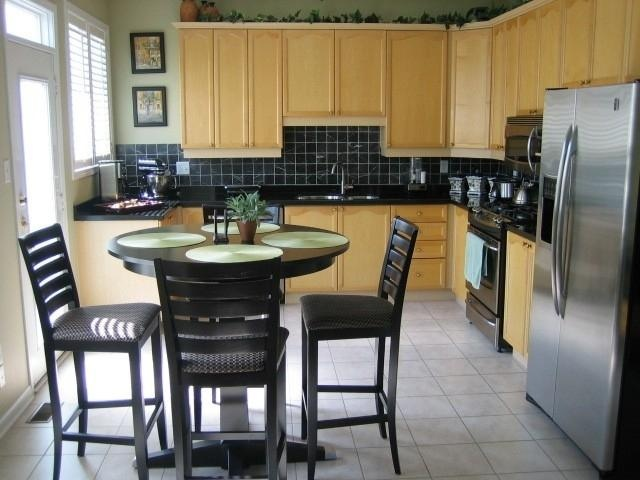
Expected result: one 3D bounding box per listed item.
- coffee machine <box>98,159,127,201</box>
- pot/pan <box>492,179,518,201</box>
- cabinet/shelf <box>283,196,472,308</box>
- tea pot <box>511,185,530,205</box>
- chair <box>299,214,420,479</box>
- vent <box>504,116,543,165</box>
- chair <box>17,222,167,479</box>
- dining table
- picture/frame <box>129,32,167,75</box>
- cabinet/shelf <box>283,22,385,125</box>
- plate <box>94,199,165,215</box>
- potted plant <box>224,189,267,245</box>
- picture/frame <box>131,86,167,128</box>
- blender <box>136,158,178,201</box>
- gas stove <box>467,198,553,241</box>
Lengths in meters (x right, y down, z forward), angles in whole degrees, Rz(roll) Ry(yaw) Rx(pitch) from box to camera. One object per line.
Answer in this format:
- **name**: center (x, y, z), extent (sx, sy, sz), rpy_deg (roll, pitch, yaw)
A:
- **coffee machine**: center (-2.081, -0.581, 4.901), extent (0.236, 0.411, 0.413), rpy_deg (-1, 8, -9)
- **pot/pan**: center (1.735, -0.470, 4.673), extent (0.203, 0.154, 0.199), rpy_deg (3, 10, 2)
- **cabinet/shelf**: center (0.498, -0.019, 5.332), extent (1.734, 0.997, 0.482), rpy_deg (-5, 25, -5)
- **tea pot**: center (1.745, -0.391, 4.287), extent (0.137, 0.157, 0.139), rpy_deg (-3, 14, 1)
- **chair**: center (0.206, 0.566, 2.837), extent (0.639, 1.342, 0.789), rpy_deg (0, 14, -2)
- **vent**: center (1.741, -0.863, 4.207), extent (0.163, 0.326, 0.337), rpy_deg (-1, 9, -41)
- **chair**: center (-1.238, 0.595, 2.733), extent (0.737, 1.316, 0.797), rpy_deg (0, 14, 0)
- **dining table**: center (-0.538, 0.561, 3.203), extent (1.341, 1.219, 1.277), rpy_deg (-1, 4, -1)
- **picture/frame**: center (-1.840, -1.996, 5.235), extent (0.419, 0.490, 0.038), rpy_deg (0, 8, -6)
- **cabinet/shelf**: center (0.140, -1.739, 5.254), extent (1.069, 0.897, 0.404), rpy_deg (-3, 9, -9)
- **plate**: center (-1.756, -0.325, 4.662), extent (0.600, 0.059, 0.554), rpy_deg (-11, 18, -40)
- **potted plant**: center (-0.474, -0.139, 3.126), extent (0.229, 0.303, 0.330), rpy_deg (0, 5, 21)
- **picture/frame**: center (-1.861, -1.457, 5.330), extent (0.410, 0.491, 0.032), rpy_deg (0, 9, -5)
- **blender**: center (-1.707, -0.629, 5.175), extent (0.407, 0.410, 0.211), rpy_deg (3, 6, 17)
- **gas stove**: center (1.538, -0.095, 4.095), extent (0.472, 0.224, 0.694), rpy_deg (2, 10, -9)
